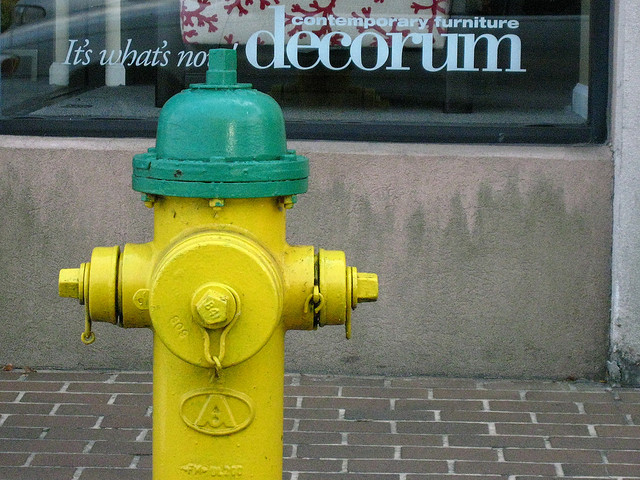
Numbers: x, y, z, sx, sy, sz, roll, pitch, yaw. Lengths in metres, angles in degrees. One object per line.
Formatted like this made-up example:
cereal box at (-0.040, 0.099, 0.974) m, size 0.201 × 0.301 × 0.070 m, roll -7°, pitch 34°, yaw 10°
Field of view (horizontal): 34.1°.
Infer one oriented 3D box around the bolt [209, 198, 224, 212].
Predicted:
bolt at (-0.405, -0.134, 4.123) m, size 0.057 × 0.063 × 0.044 m, roll -2°, pitch 12°, yaw -5°

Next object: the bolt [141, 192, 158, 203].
bolt at (-0.681, -0.166, 4.195) m, size 0.072 × 0.037 × 0.064 m, roll 6°, pitch 2°, yaw -8°

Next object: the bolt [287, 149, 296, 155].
bolt at (-0.114, -0.356, 4.254) m, size 0.035 × 0.014 × 0.037 m, roll 5°, pitch 14°, yaw 23°

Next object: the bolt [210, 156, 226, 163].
bolt at (-0.397, -0.311, 4.089) m, size 0.037 × 0.025 × 0.025 m, roll 2°, pitch 37°, yaw 0°
